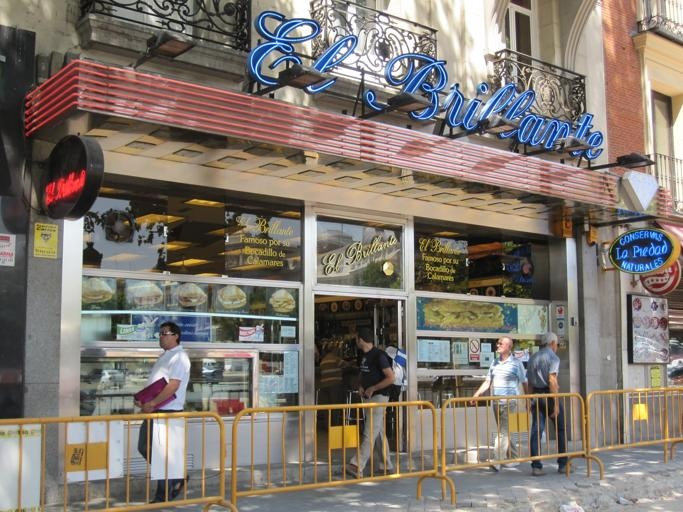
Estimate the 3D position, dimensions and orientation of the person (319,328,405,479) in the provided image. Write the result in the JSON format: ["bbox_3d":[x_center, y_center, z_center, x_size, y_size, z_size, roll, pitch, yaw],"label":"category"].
[{"bbox_3d":[0.391,2.029,11.184,0.698,2.036,0.679,2,-3,-30],"label":"person"}]

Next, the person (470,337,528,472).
[{"bbox_3d":[2.312,2.164,11.814,0.748,1.934,0.903,-1,-1,29],"label":"person"}]

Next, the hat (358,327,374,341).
[{"bbox_3d":[0.334,1.122,11.497,0.171,0.179,0.189,-1,17,-11],"label":"hat"}]

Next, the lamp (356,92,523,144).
[{"bbox_3d":[1.247,-1.976,11.787,1.926,0.595,1.081,0,1,-30],"label":"lamp"}]

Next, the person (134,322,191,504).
[{"bbox_3d":[-2.161,1.898,9.680,0.730,2.194,0.727,-6,-10,43],"label":"person"}]

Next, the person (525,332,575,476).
[{"bbox_3d":[2.855,2.083,11.676,0.752,1.838,0.709,3,-4,-35],"label":"person"}]
